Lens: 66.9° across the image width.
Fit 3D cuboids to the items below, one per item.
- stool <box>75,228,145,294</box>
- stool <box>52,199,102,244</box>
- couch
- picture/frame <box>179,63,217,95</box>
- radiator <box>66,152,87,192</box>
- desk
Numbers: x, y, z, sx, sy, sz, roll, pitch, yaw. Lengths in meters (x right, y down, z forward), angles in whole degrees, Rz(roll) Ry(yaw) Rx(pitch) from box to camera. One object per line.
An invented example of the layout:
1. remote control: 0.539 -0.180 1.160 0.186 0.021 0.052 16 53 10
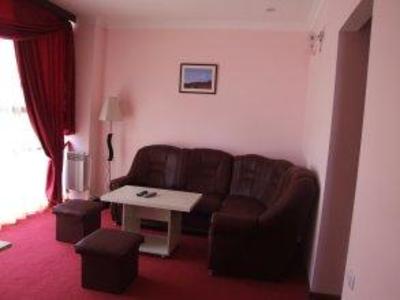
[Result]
1. stool: -0.939 1.072 3.244 0.551 0.541 0.586 2 4 16
2. stool: -1.655 0.903 4.065 0.682 0.516 0.728 3 9 -25
3. couch: 0.269 0.708 3.876 1.823 0.805 1.645 7 6 19
4. picture/frame: -0.022 -1.144 4.883 0.598 0.460 0.179 3 13 -1
5. radiator: -2.005 0.380 4.944 0.349 0.671 0.257 -3 14 -23
6. desk: -0.563 0.893 3.870 1.149 0.726 0.674 4 -1 5
